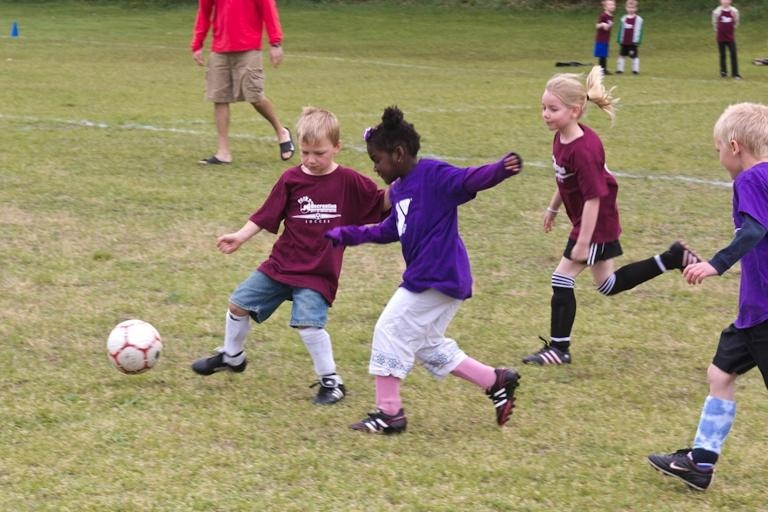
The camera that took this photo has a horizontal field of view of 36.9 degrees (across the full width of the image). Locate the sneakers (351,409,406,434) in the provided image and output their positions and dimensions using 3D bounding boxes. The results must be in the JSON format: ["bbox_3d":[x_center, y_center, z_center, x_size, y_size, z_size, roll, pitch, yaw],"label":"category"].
[{"bbox_3d":[0.008,1.186,8.094,0.481,0.144,0.143,2,-9,1],"label":"sneakers"}]

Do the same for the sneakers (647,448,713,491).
[{"bbox_3d":[2.008,1.397,7.724,0.171,0.182,0.474,-4,20,-44],"label":"sneakers"}]

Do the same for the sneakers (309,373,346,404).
[{"bbox_3d":[-0.401,0.973,8.310,0.180,0.105,0.304,0,4,15],"label":"sneakers"}]

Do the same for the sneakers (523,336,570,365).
[{"bbox_3d":[1.278,0.744,8.752,0.515,0.186,0.141,1,-2,0],"label":"sneakers"}]

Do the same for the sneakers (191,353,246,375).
[{"bbox_3d":[-1.223,0.789,8.515,0.474,0.158,0.138,0,37,-10],"label":"sneakers"}]

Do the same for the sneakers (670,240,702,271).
[{"bbox_3d":[2.266,0.000,8.477,0.085,0.204,0.225,-24,40,-8],"label":"sneakers"}]

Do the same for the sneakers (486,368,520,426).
[{"bbox_3d":[0.856,0.981,8.083,0.272,0.391,0.164,-1,18,1],"label":"sneakers"}]

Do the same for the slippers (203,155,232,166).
[{"bbox_3d":[-1.736,-1.008,12.066,0.304,0.060,0.099,1,0,-26],"label":"slippers"}]

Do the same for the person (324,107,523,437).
[{"bbox_3d":[0.303,0.094,8.080,1.421,2.243,0.793,5,15,10],"label":"person"}]
